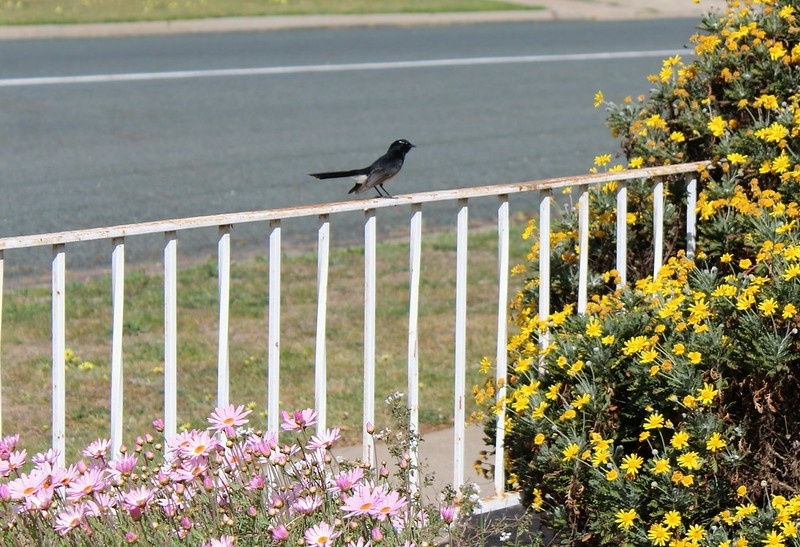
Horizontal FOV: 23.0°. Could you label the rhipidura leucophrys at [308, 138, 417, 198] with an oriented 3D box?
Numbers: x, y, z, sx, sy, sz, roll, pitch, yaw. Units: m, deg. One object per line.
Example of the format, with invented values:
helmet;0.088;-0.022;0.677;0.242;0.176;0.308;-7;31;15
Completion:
rhipidura leucophrys;-0.290;-0.882;16.251;0.919;0.467;0.258;-6;8;-18
